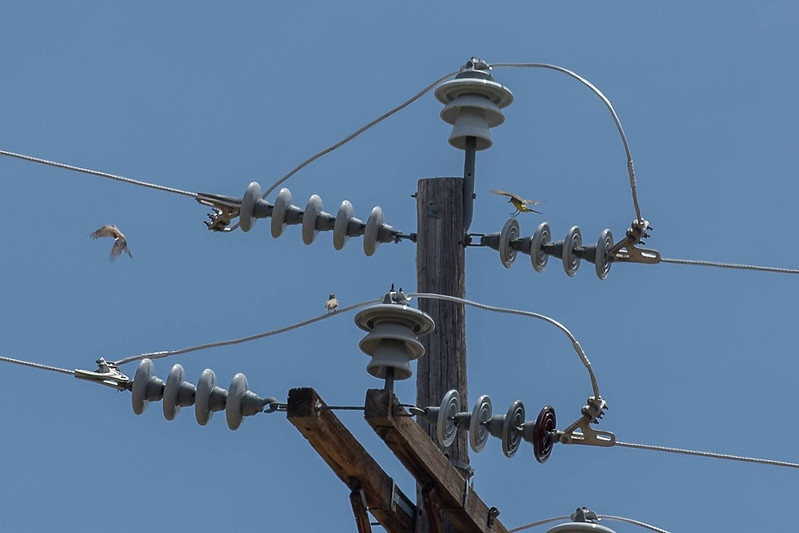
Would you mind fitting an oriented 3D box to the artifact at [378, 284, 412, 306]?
[{"bbox_3d":[-0.045,0.259,18.778,0.153,0.176,0.082,1,0,33],"label":"artifact"}]

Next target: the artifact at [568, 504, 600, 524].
[{"bbox_3d":[1.726,2.332,22.552,0.241,0.143,0.302,5,-8,3],"label":"artifact"}]

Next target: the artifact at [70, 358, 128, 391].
[{"bbox_3d":[-2.819,1.039,22.981,0.431,0.307,0.831,11,-10,-36],"label":"artifact"}]

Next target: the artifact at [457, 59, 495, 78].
[{"bbox_3d":[0.748,-1.947,24.063,0.355,0.238,0.246,5,-8,2],"label":"artifact"}]
